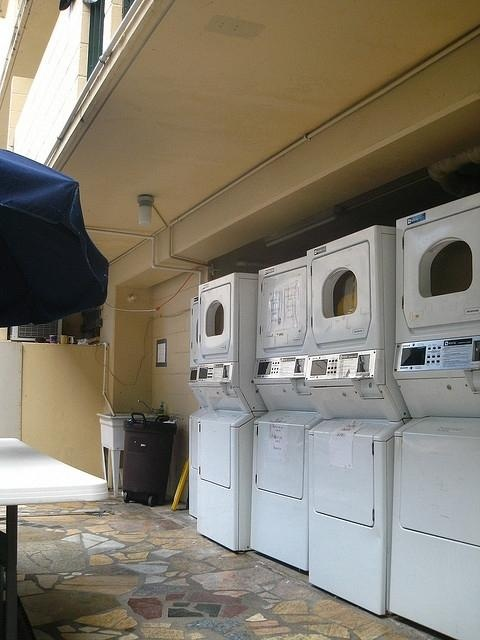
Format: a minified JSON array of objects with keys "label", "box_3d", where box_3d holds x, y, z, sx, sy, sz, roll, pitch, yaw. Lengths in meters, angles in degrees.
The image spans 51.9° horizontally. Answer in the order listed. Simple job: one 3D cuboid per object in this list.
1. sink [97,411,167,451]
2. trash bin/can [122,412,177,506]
[{"label":"sink","box_3d":[-1.505,1.436,6.760,0.717,0.685,0.598,3,-6,-35]},{"label":"trash bin/can","box_3d":[-1.101,1.610,5.945,0.574,0.978,0.715,2,0,-21]}]
